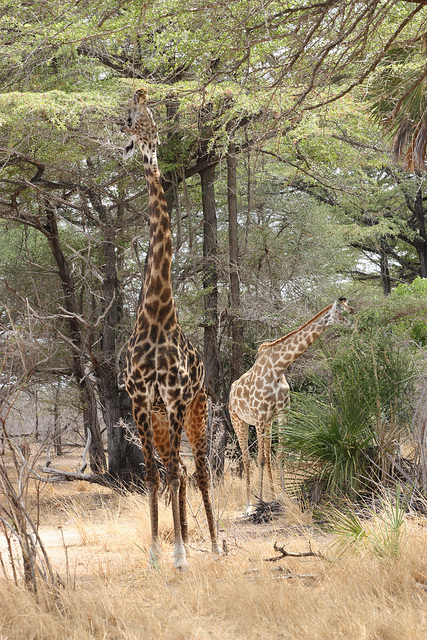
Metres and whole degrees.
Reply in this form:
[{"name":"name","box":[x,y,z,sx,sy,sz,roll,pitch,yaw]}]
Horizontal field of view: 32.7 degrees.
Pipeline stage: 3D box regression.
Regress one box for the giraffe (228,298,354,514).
[{"name":"giraffe","box":[0.796,1.079,9.073,1.189,2.745,1.844,-6,7,-25]}]

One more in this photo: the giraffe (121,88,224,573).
[{"name":"giraffe","box":[-0.377,0.123,5.936,0.730,3.959,1.476,-3,7,-1]}]
